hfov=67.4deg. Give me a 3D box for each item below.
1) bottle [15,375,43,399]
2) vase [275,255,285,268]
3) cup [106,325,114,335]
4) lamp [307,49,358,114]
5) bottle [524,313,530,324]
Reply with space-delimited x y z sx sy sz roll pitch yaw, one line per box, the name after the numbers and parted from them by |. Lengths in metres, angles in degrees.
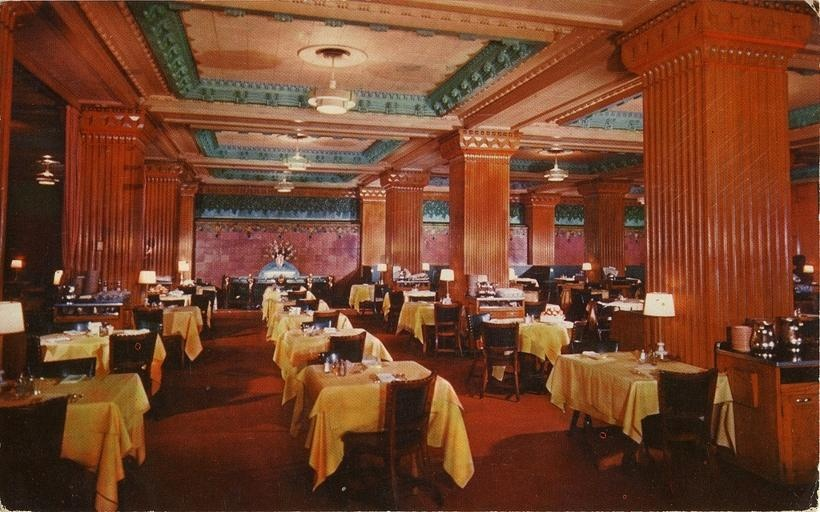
-4.487 1.521 7.279 0.247 0.386 0.285 -7 -7 39 | bottle
-4.538 0.179 21.531 0.363 0.395 0.214 1 1 -20 | vase
-4.719 1.166 9.684 0.120 0.153 0.150 -6 -11 23 | cup
-1.342 -3.033 10.739 0.820 0.848 0.781 -13 30 -26 | lamp
2.030 1.090 10.675 0.100 0.112 0.173 0 -1 3 | bottle
